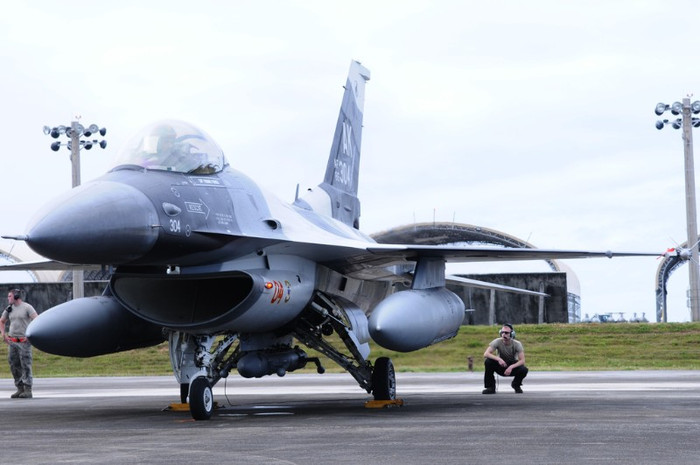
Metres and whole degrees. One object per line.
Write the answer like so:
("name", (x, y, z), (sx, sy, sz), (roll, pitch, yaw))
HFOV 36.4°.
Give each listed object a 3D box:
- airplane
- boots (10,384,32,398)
("airplane", (-1.897, 0.504, 19.460), (8.751, 5.423, 4.594), (2, -5, -36))
("boots", (-7.010, 3.380, 22.546), (0.361, 0.305, 0.366), (4, -22, -9))
